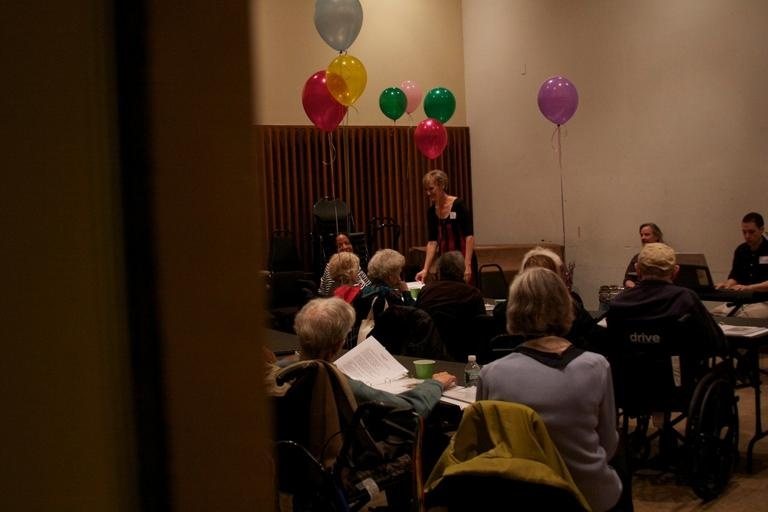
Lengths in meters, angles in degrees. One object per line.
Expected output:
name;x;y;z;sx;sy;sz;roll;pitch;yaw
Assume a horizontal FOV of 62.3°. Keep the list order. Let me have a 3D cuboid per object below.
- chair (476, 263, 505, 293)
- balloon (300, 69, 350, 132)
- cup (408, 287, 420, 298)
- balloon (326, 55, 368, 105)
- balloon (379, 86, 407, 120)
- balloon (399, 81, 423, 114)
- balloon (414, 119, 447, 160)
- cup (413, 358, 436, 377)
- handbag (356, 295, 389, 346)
chair;1.030;0.220;6.215;0.179;0.402;0.214;4;12;23
balloon;-0.523;-1.405;5.797;0.455;0.658;0.499;-4;-4;-18
cup;0.207;0.262;4.523;0.075;0.065;0.080;-1;2;0
balloon;-0.354;-1.680;6.093;0.401;0.596;0.449;-2;8;-6
balloon;0.112;-1.817;7.480;0.332;0.440;0.356;0;-2;-10
balloon;0.330;-1.996;8.054;0.284;0.406;0.302;-7;-5;30
balloon;0.484;-1.239;6.694;0.335;0.466;0.359;2;-8;-3
cup;0.172;0.498;2.793;0.078;0.077;0.103;2;-7;12
handbag;-0.098;0.396;3.699;0.090;0.299;0.111;23;-15;29
